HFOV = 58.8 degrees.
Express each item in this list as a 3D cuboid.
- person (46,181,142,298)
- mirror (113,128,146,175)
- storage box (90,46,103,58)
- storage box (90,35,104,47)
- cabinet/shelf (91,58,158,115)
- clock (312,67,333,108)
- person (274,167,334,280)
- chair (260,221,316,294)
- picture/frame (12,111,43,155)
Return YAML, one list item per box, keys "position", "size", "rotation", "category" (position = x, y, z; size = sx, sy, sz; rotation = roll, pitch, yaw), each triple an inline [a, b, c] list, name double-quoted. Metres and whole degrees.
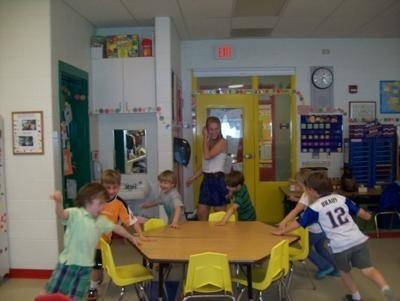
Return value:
- position: [-1.231, 0.908, 4.015]
  size: [0.916, 1.438, 1.005]
  rotation: [2, -5, 25]
  category: "person"
- position: [-1.187, -0.024, 6.089]
  size: [0.744, 1.029, 0.052]
  rotation: [1, 2, 2]
  category: "mirror"
- position: [-1.656, -1.599, 5.752]
  size: [0.154, 0.168, 0.158]
  rotation: [-1, 10, 1]
  category: "storage box"
- position: [-1.667, -1.766, 5.806]
  size: [0.174, 0.189, 0.175]
  rotation: [0, -2, 2]
  category: "storage box"
- position: [-1.225, -1.043, 5.976]
  size: [1.063, 0.922, 0.414]
  rotation: [-1, -4, 0]
  category: "cabinet/shelf"
- position: [2.260, -1.170, 6.556]
  size: [0.396, 0.747, 0.157]
  rotation: [0, 10, 3]
  category: "clock"
- position: [1.376, 0.904, 4.582]
  size: [0.857, 1.667, 0.756]
  rotation: [-5, 38, 8]
  category: "person"
- position: [1.126, 1.227, 4.148]
  size: [0.451, 0.629, 0.465]
  rotation: [-2, 3, 23]
  category: "chair"
- position: [-2.220, -0.246, 4.634]
  size: [0.527, 0.741, 0.034]
  rotation: [1, 4, 6]
  category: "picture/frame"
